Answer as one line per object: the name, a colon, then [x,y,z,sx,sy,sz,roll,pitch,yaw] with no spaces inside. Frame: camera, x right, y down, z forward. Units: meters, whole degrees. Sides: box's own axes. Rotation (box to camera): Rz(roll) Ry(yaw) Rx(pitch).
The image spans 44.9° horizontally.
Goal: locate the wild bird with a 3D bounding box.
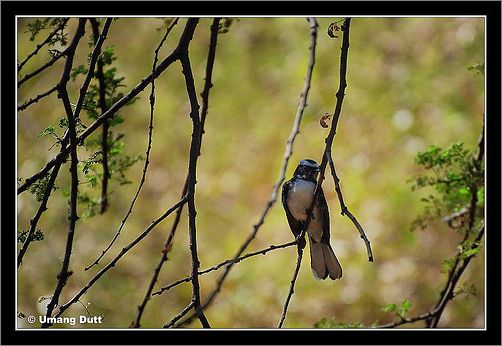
wild bird: [0.451,0.352,4.666,0.340,1.077,0.397,-11,-25,13]
